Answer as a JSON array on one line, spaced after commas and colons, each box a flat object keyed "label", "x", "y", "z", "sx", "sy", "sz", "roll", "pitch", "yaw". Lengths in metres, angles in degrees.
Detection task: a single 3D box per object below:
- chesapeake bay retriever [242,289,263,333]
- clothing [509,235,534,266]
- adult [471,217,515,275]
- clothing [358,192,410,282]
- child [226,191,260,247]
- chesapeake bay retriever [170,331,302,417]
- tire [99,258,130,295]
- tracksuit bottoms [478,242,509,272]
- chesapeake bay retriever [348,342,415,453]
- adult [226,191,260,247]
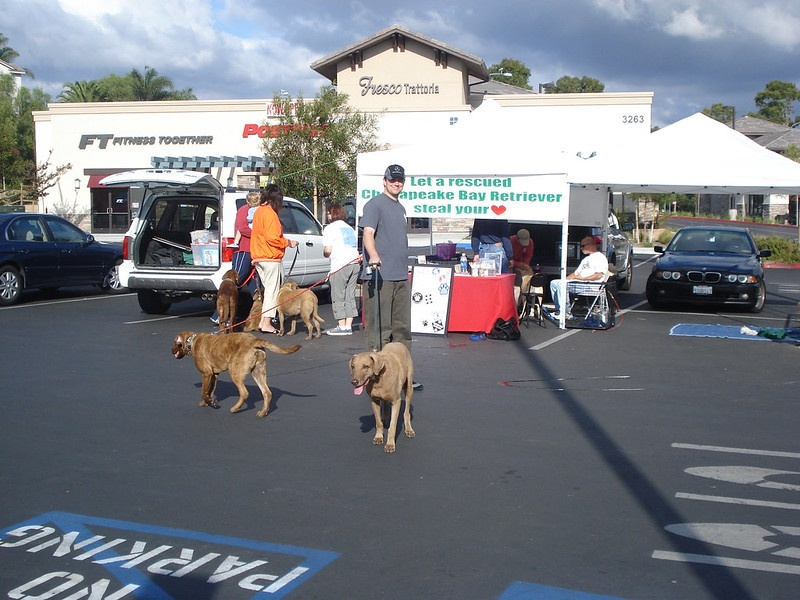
[{"label": "chesapeake bay retriever", "x": -2.447, "y": 0.168, "z": 11.586, "sx": 0.353, "sy": 0.641, "sz": 0.192, "roll": -14, "pitch": -35, "yaw": 35}, {"label": "clothing", "x": 2.352, "y": -0.971, "z": 13.607, "sx": 0.416, "sy": 0.779, "sz": 0.553, "roll": 7, "pitch": 12, "yaw": 38}, {"label": "adult", "x": 1.740, "y": -1.001, "z": 13.090, "sx": 0.844, "sy": 1.017, "sz": 0.419, "roll": 1, "pitch": 2, "yaw": 6}, {"label": "clothing", "x": -0.158, "y": -0.655, "z": 7.359, "sx": 0.527, "sy": 0.916, "sz": 0.287, "roll": -2, "pitch": 8, "yaw": -16}, {"label": "child", "x": -2.649, "y": -1.322, "z": 11.723, "sx": 0.426, "sy": 1.079, "sz": 0.539, "roll": -7, "pitch": 30, "yaw": -15}, {"label": "chesapeake bay retriever", "x": -1.792, "y": 0.734, "z": 7.392, "sx": 1.132, "sy": 0.834, "sz": 0.424, "roll": 5, "pitch": 9, "yaw": 30}, {"label": "tire", "x": -6.307, "y": -0.554, "z": 15.310, "sx": 0.786, "sy": 0.805, "sz": 0.264, "roll": -2, "pitch": 13, "yaw": -7}, {"label": "tracksuit bottoms", "x": 1.661, "y": -0.719, "z": 12.342, "sx": 0.512, "sy": 0.512, "sz": 0.938, "roll": 1, "pitch": 8, "yaw": 7}, {"label": "chesapeake bay retriever", "x": -0.131, "y": 0.864, "z": 6.375, "sx": 0.413, "sy": 0.924, "sz": 1.356, "roll": 0, "pitch": 7, "yaw": 15}, {"label": "adult", "x": -2.649, "y": -1.322, "z": 11.723, "sx": 0.426, "sy": 1.079, "sz": 0.539, "roll": -7, "pitch": 30, "yaw": -15}]
